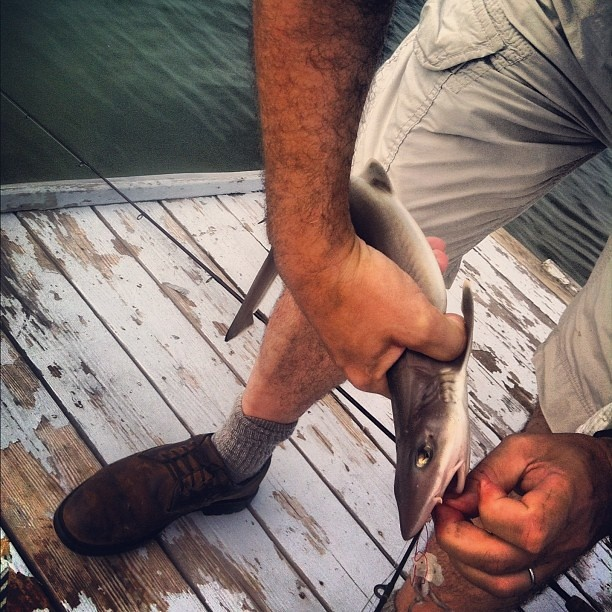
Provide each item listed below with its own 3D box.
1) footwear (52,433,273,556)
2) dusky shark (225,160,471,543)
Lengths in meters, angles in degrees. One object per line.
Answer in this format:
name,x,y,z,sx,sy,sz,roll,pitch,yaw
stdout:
footwear,-0.402,0.542,1.768,0.579,0.208,0.225,-12,61,-41
dusky shark,0.130,0.028,1.295,0.399,0.363,0.855,39,23,-52
